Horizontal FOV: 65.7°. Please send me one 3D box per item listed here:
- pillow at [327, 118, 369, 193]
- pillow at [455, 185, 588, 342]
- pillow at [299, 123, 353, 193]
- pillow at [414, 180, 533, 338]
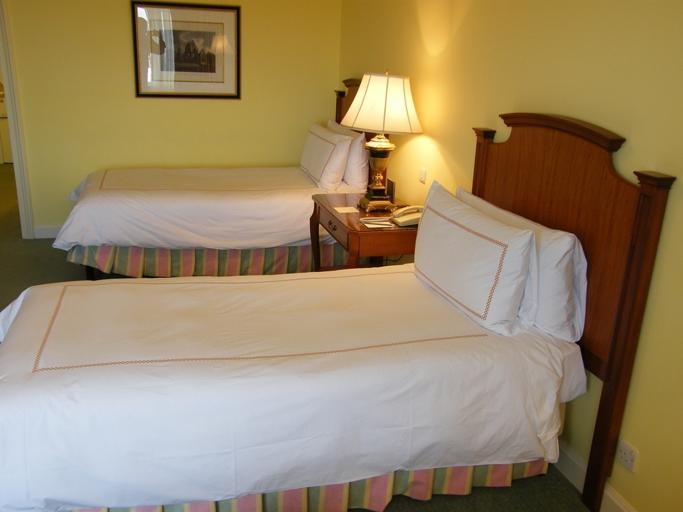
[{"bbox_3d":[0.067,-0.786,4.299,0.174,0.397,0.607,3,33,-30],"label":"pillow"},{"bbox_3d":[0.838,0.062,2.413,0.191,0.367,0.607,10,23,-38],"label":"pillow"},{"bbox_3d":[-0.181,-0.899,4.784,0.227,0.557,0.968,19,12,-29],"label":"pillow"},{"bbox_3d":[0.630,-0.007,2.681,0.277,0.546,0.807,-8,25,-22],"label":"pillow"}]
